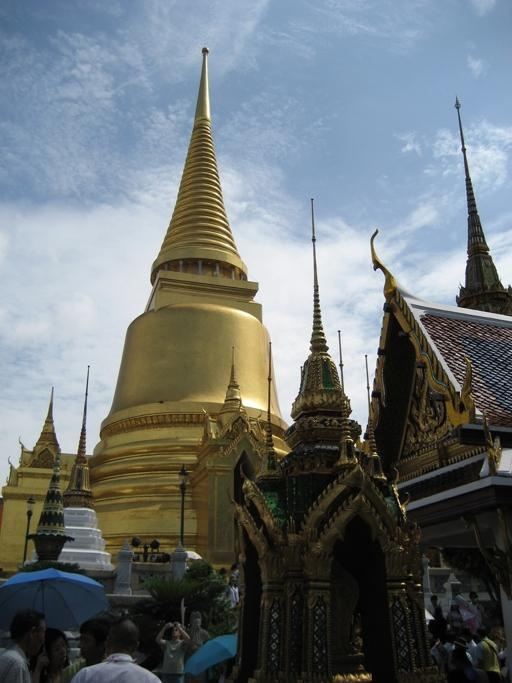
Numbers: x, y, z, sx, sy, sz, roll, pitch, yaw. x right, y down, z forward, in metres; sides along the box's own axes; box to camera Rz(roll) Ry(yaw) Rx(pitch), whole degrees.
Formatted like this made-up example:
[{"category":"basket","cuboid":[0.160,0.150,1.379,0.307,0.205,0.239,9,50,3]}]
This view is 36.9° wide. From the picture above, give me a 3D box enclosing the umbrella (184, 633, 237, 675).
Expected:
[{"category":"umbrella","cuboid":[-0.356,2.831,6.981,0.426,0.325,0.676,8,-25,-18]}]
